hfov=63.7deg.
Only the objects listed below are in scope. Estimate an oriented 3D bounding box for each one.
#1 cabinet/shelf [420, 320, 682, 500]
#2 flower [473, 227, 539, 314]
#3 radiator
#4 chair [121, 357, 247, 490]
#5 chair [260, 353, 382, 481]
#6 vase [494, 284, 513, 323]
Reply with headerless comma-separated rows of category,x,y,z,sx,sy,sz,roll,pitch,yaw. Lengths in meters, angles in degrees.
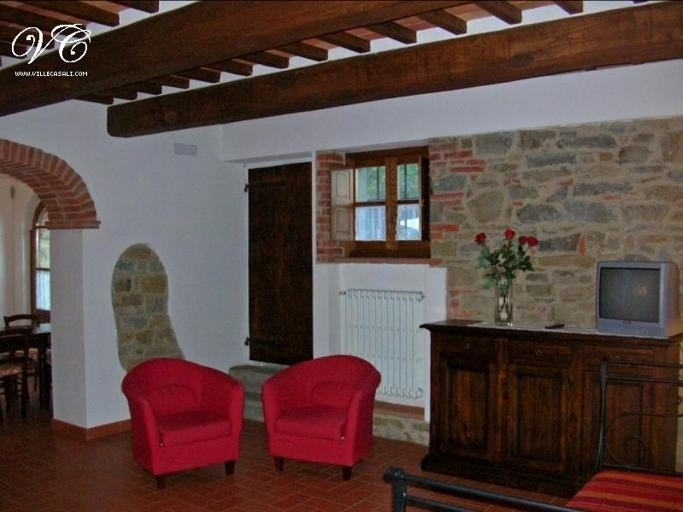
cabinet/shelf,1.741,1.228,4.390,1.589,0.978,0.517,-1,-4,34
flower,1.546,0.176,5.111,0.559,0.841,0.488,0,4,15
radiator,0.464,0.948,5.853,1.285,1.274,0.211,1,3,32
chair,-1.430,1.426,5.109,1.110,1.014,1.070,2,-3,-37
chair,-0.165,1.488,5.222,1.052,0.935,0.952,0,1,12
vase,1.506,0.426,5.101,0.144,0.356,0.368,0,4,15
